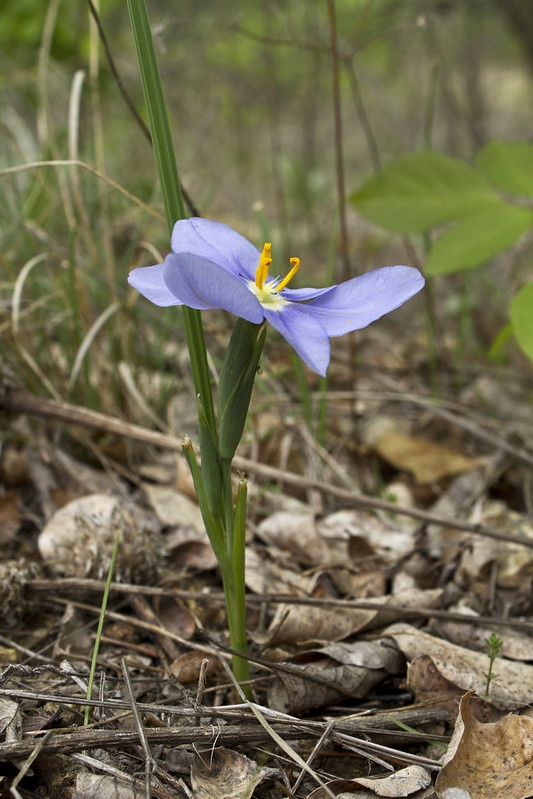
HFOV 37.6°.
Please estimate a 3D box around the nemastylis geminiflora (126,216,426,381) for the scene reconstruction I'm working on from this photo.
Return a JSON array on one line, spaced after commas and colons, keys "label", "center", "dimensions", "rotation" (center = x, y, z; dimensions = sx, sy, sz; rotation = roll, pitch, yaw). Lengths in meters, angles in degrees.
[{"label": "nemastylis geminiflora", "center": [0.010, -0.161, 1.052], "dimensions": [0.296, 0.351, 0.093], "rotation": [-1, 79, 50]}]
